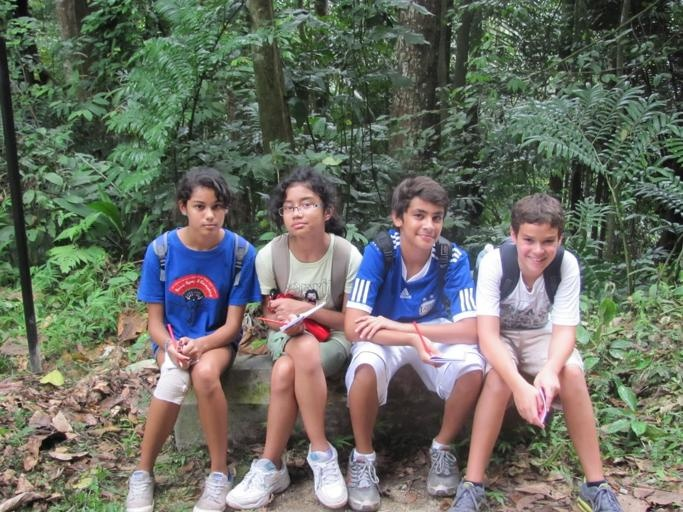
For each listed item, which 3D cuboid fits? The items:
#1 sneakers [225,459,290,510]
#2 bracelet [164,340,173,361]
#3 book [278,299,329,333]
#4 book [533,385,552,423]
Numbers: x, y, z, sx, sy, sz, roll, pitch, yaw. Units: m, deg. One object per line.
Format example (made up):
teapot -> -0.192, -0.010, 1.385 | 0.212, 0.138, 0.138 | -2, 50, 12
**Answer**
sneakers -> -0.523, 1.439, 4.103 | 0.187, 0.239, 0.449 | 15, 22, 36
bracelet -> -1.151, 0.618, 4.142 | 0.078, 0.115, 0.053 | -2, -8, -6
book -> -0.268, 0.408, 4.176 | 0.315, 0.034, 0.178 | -30, -8, -43
book -> 1.224, 0.916, 3.825 | 0.058, 0.265, 0.145 | 4, -4, 18
